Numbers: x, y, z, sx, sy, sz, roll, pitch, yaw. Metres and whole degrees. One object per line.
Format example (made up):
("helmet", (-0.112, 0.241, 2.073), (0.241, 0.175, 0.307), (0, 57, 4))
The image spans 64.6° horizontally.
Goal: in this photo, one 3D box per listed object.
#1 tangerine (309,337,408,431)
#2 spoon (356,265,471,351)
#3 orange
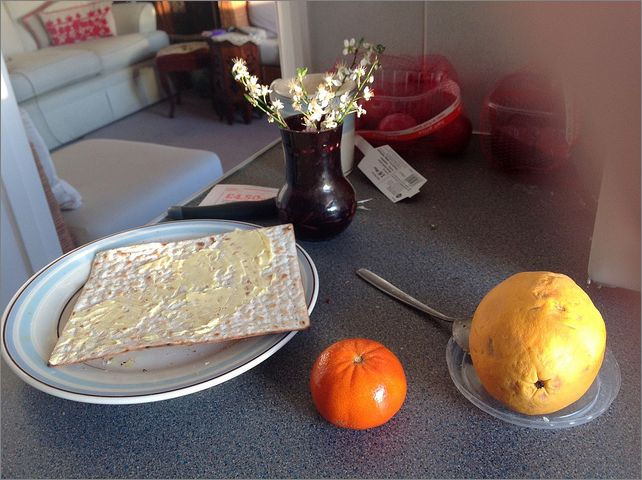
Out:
("tangerine", (0.045, 0.176, 0.624), (0.100, 0.075, 0.098), (-24, 46, -21))
("spoon", (0.130, 0.077, 0.724), (0.059, 0.020, 0.194), (-36, 44, -20))
("orange", (0.245, 0.115, 0.579), (0.134, 0.100, 0.120), (5, 43, 9))
